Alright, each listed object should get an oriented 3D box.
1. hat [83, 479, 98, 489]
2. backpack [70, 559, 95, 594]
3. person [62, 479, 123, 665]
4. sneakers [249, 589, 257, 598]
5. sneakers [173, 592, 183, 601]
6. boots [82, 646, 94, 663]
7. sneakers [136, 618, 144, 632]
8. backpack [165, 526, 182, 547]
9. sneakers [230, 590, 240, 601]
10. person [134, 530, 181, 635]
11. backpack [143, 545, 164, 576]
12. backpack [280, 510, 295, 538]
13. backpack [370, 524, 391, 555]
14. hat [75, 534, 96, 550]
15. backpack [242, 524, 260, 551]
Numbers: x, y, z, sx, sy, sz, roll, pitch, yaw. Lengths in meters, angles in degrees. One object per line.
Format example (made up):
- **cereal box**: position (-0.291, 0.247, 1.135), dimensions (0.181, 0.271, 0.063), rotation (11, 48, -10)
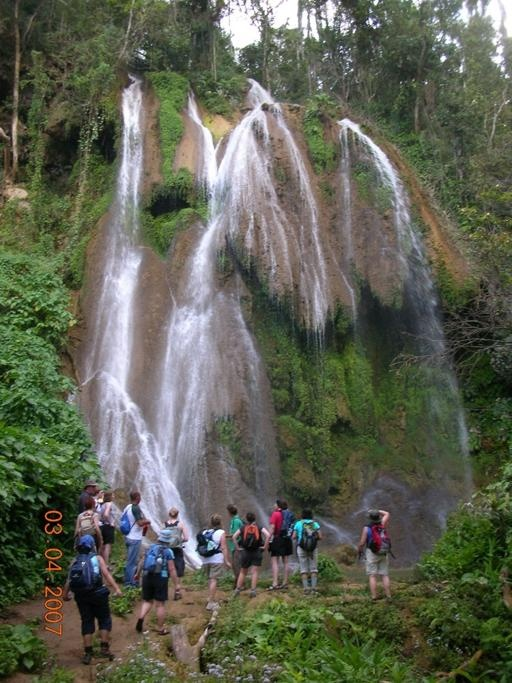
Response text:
- **hat**: position (-2.233, 1.992, 8.867), dimensions (0.135, 0.139, 0.128), rotation (7, 6, -33)
- **backpack**: position (-1.786, 2.437, 6.716), dimensions (0.258, 0.396, 0.219), rotation (-7, -17, 4)
- **person**: position (-1.792, 2.635, 7.219), dimensions (0.570, 1.632, 1.079), rotation (2, -6, -12)
- **sneakers**: position (-0.037, 3.411, 8.740), dimensions (0.068, 0.122, 0.082), rotation (-2, 0, 6)
- **sneakers**: position (-1.070, 3.553, 8.998), dimensions (0.057, 0.097, 0.138), rotation (0, 5, 18)
- **boots**: position (-1.753, 3.306, 6.828), dimensions (0.109, 0.160, 0.147), rotation (2, -6, -15)
- **sneakers**: position (-1.343, 3.338, 7.628), dimensions (0.083, 0.243, 0.100), rotation (2, 6, 7)
- **backpack**: position (-1.010, 2.509, 8.234), dimensions (0.205, 0.272, 0.280), rotation (4, -4, -3)
- **sneakers**: position (-0.269, 3.450, 8.772), dimensions (0.097, 0.167, 0.086), rotation (16, 14, -18)
- **person**: position (-1.204, 2.919, 7.935), dimensions (0.461, 1.141, 1.141), rotation (1, -6, -7)
- **backpack**: position (-1.178, 2.534, 7.486), dimensions (0.239, 0.350, 0.163), rotation (0, -6, 9)
- **backpack**: position (0.442, 2.598, 9.145), dimensions (0.191, 0.393, 0.286), rotation (1, -17, 20)
- **backpack**: position (1.618, 2.604, 8.442), dimensions (0.296, 0.412, 0.179), rotation (2, -6, -10)
- **hat**: position (-1.785, 2.143, 6.900), dimensions (0.153, 0.154, 0.287), rotation (1, -6, -8)
- **backpack**: position (-0.059, 2.707, 8.885), dimensions (0.256, 0.348, 0.206), rotation (1, -6, -2)
